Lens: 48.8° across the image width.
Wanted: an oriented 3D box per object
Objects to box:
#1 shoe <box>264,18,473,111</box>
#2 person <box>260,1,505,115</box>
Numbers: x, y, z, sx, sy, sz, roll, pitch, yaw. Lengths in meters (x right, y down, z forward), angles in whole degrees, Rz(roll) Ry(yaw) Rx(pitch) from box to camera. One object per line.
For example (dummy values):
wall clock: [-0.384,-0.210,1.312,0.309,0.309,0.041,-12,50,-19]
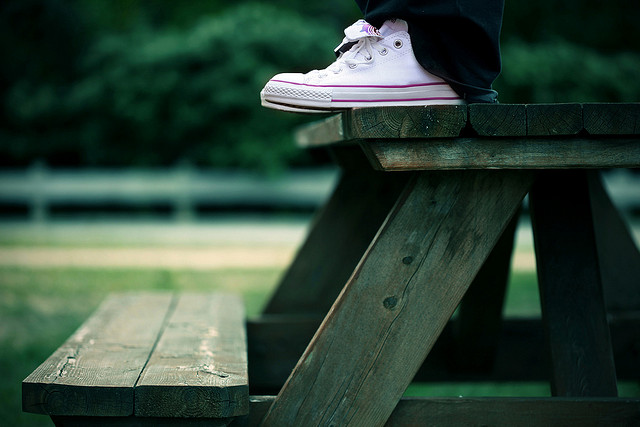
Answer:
shoe: [0.169,-0.469,2.228,0.702,0.353,0.238,-4,-4,-15]
person: [0.199,-0.447,2.379,0.771,0.575,0.323,5,-3,3]
